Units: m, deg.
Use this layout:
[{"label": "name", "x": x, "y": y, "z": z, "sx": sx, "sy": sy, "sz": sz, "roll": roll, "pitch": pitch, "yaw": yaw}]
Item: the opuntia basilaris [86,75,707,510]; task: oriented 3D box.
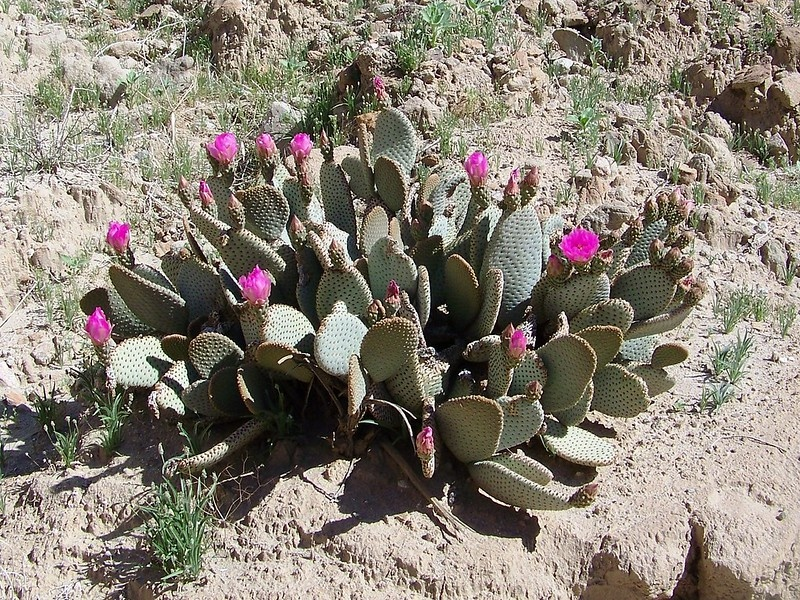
[{"label": "opuntia basilaris", "x": -0.012, "y": 0.065, "z": 4.208, "sx": 2.308, "sy": 1.182, "sz": 2.216, "roll": 5, "pitch": 32, "yaw": -11}]

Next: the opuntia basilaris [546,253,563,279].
[{"label": "opuntia basilaris", "x": 0.759, "y": -0.146, "z": 4.051, "sx": 0.092, "sy": 0.145, "sz": 0.100, "roll": 5, "pitch": 63, "yaw": 18}]

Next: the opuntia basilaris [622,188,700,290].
[{"label": "opuntia basilaris", "x": 1.425, "y": -0.307, "z": 4.523, "sx": 0.219, "sy": 0.622, "sz": 0.212, "roll": -6, "pitch": 50, "yaw": -8}]

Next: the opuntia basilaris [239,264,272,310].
[{"label": "opuntia basilaris", "x": -0.679, "y": -0.056, "z": 3.892, "sx": 0.121, "sy": 0.238, "sz": 0.173, "roll": -12, "pitch": 51, "yaw": -20}]

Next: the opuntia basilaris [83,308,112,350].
[{"label": "opuntia basilaris", "x": -1.409, "y": 0.150, "z": 3.895, "sx": 0.099, "sy": 0.201, "sz": 0.101, "roll": -13, "pitch": 12, "yaw": -9}]
